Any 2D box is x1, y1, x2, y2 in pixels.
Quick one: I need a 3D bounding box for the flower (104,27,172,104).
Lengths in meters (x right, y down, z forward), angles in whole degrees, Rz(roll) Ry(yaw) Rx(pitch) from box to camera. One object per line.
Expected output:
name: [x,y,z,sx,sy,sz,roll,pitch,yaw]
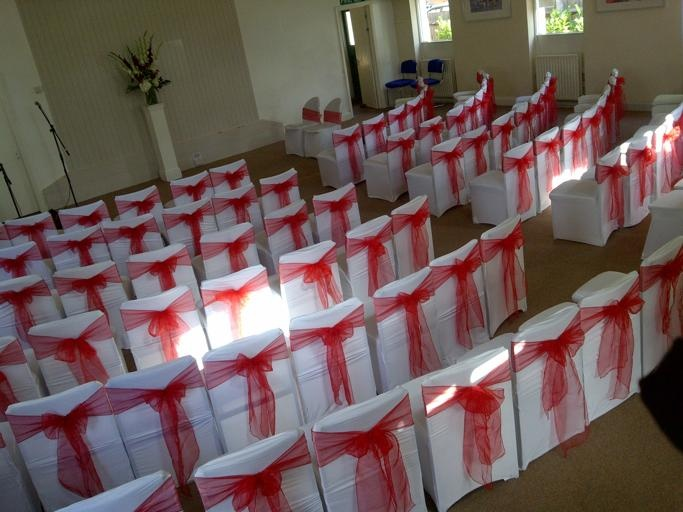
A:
flower: [-4.172,-3.805,10.842,0.800,1.170,1.166,-26,19,-20]
